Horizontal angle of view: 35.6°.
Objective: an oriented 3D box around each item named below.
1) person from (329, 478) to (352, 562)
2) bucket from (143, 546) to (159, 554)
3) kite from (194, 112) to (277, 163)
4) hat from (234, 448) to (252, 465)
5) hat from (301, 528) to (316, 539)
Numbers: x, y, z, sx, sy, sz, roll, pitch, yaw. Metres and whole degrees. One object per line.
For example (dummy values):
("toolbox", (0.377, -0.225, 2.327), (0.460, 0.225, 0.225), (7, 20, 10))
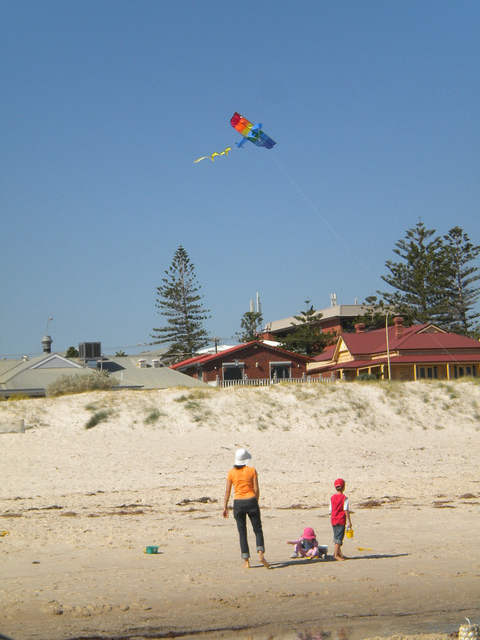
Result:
("person", (1.498, 2.972, 11.122), (0.297, 1.268, 0.933), (2, 2, 8))
("bucket", (-1.341, 3.481, 11.311), (0.155, 0.088, 0.149), (1, 3, 0))
("kite", (0.175, -4.840, 19.150), (1.088, 0.965, 1.430), (0, 3, -37))
("hat", (0.040, 1.891, 10.340), (0.191, 0.275, 0.481), (2, 2, -1))
("hat", (1.038, 3.231, 11.165), (0.174, 0.095, 0.183), (3, 5, 33))
